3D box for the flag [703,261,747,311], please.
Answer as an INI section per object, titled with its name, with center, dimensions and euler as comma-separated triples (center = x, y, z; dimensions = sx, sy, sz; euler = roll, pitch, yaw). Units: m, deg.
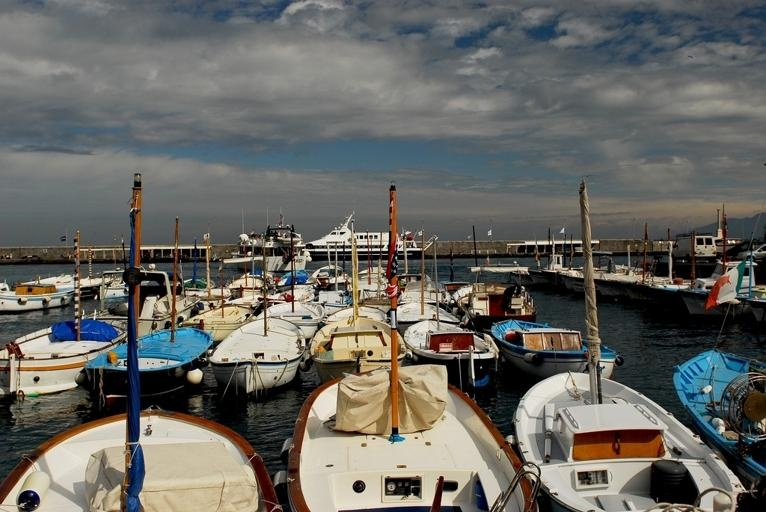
[flag]
center = 15.822, 1.295, 36.564
dimensions = 1.258, 0.268, 2.883
euler = -3, 41, 51
